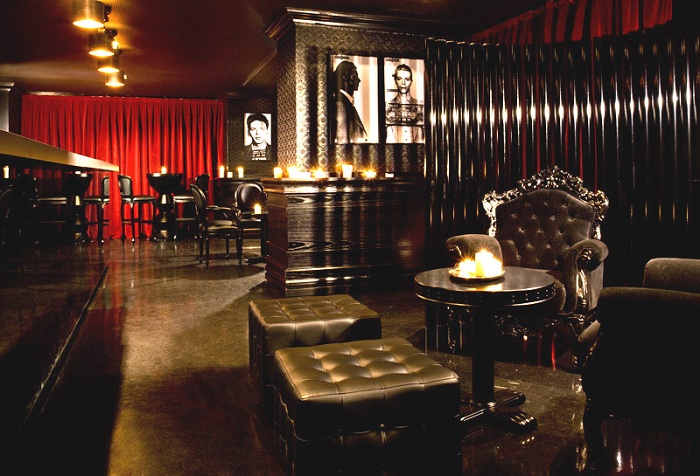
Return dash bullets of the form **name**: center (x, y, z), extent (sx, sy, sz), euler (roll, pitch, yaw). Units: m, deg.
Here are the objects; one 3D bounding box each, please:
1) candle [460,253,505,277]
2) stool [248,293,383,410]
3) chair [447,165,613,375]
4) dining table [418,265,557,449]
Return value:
- **candle**: center (0.843, 0.171, 3.281), extent (0.248, 0.171, 0.145), euler (2, 1, 14)
- **stool**: center (-0.288, 0.634, 3.305), extent (0.679, 0.495, 0.671), euler (0, -3, -21)
- **chair**: center (1.550, 0.170, 4.338), extent (1.195, 1.540, 0.928), euler (2, 1, 42)
- **dining table**: center (0.777, 0.699, 3.141), extent (0.770, 0.748, 0.779), euler (-4, 2, 23)
